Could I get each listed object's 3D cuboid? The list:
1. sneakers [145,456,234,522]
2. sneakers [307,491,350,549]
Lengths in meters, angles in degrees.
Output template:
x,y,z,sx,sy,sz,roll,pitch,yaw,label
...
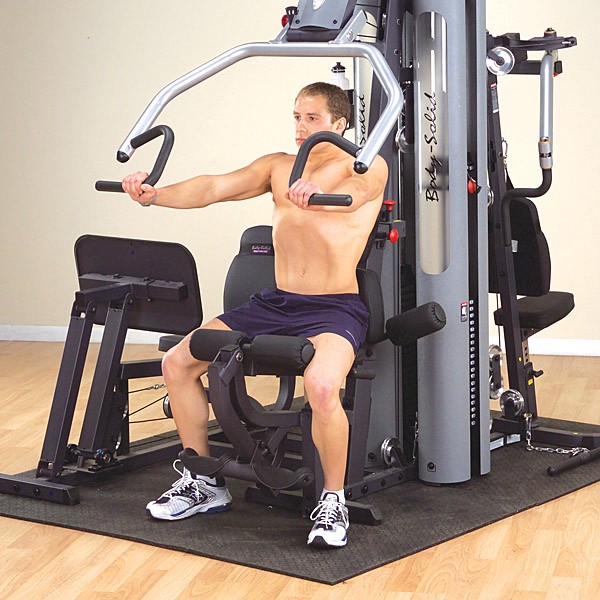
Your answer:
x,y,z,sx,sy,sz,roll,pitch,yaw,label
-0.321,0.578,1.897,0.300,0.191,0.113,0,-3,-38,sneakers
0.072,0.555,1.552,0.085,0.116,0.115,0,1,11,sneakers
